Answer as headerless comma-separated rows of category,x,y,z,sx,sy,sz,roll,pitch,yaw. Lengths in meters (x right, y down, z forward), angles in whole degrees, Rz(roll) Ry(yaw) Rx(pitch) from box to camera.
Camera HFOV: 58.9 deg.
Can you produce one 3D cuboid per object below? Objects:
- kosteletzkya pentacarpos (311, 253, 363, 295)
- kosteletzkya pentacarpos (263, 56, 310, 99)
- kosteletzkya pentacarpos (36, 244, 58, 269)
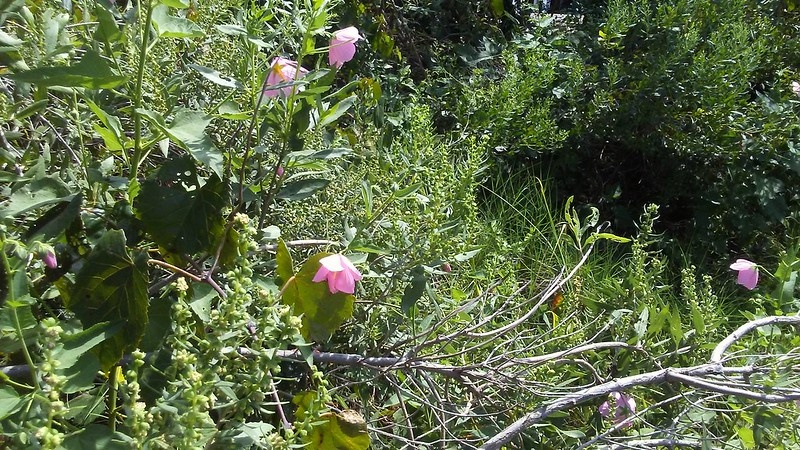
kosteletzkya pentacarpos,-0.166,0.140,1.918,0.115,0.099,0.088,-11,47,-33
kosteletzkya pentacarpos,-0.323,-0.427,2.018,0.123,0.052,0.121,-47,37,-9
kosteletzkya pentacarpos,-0.872,0.070,1.762,0.035,0.082,0.059,-1,42,-24
